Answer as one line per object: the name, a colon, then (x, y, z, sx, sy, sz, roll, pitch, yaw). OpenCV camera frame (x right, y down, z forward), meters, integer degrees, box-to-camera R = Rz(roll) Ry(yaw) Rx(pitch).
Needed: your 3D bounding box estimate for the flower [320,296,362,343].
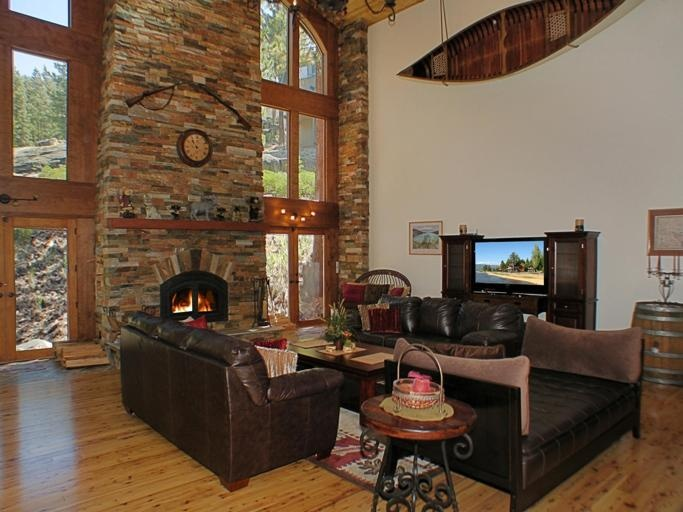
flower: (0.003, 0.732, 6.309, 0.409, 0.568, 0.428, 9, -7, -41)

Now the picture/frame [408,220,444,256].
picture/frame: (1.659, -0.372, 9.828, 0.027, 0.626, 0.793, 5, -4, -44)

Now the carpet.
carpet: (0.152, 1.925, 4.880, 0.656, 0.214, 0.950, -3, 7, -43)

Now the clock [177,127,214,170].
clock: (-2.411, -1.766, 8.186, 0.104, 0.723, 0.784, -5, 1, 43)

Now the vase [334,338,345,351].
vase: (-0.024, 1.070, 6.146, 0.146, 0.149, 0.138, 3, 4, 6)

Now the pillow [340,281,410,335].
pillow: (0.616, 0.810, 8.038, 0.809, 0.748, 0.262, 1, -8, 36)

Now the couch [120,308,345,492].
couch: (-1.308, 1.306, 5.477, 1.381, 1.167, 2.776, 0, 2, -40)

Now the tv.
tv: (2.810, 0.174, 8.314, 1.106, 0.740, 0.051, 0, -2, 43)
